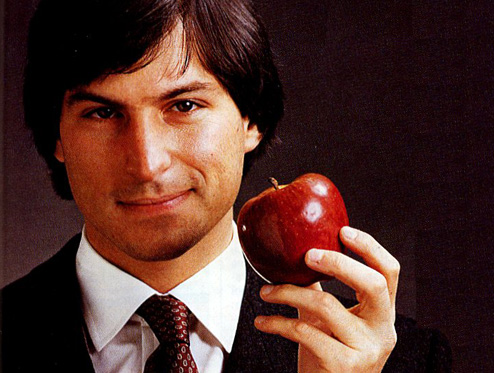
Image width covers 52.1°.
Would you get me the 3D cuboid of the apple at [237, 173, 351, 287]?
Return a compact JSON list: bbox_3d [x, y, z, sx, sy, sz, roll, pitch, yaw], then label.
[{"bbox_3d":[0.143,0.121,1.699,0.340,0.404,0.383,-12,17,9],"label":"apple"}]
